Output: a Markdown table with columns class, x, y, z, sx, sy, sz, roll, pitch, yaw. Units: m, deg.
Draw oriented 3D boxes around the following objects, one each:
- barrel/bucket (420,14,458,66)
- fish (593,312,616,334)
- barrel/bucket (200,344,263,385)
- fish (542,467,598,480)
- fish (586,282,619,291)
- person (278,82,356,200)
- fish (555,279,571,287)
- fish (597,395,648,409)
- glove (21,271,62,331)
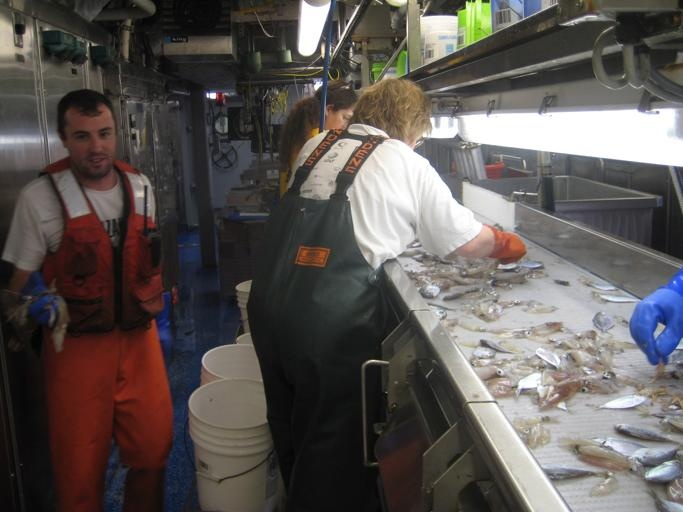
| class | x | y | z | sx | sy | sz | roll | pitch | yaw |
| --- | --- | --- | --- | --- | --- | --- | --- | --- | --- |
| barrel/bucket | 0.538 | -1.187 | 2.787 | 0.137 | 0.241 | 0.302 | -12 | 17 | -43 |
| fish | 0.940 | 0.238 | 1.844 | 0.071 | 0.024 | 0.054 | -18 | 33 | -33 |
| barrel/bucket | -0.619 | 0.613 | 2.881 | 0.275 | 0.202 | 0.258 | 2 | 13 | 0 |
| fish | 0.518 | 0.491 | 1.160 | 0.117 | 0.021 | 0.028 | -1 | 12 | -3 |
| fish | 1.100 | 0.128 | 2.167 | 0.102 | 0.009 | 0.113 | 1 | 12 | 5 |
| person | -0.273 | -0.798 | 4.127 | 0.424 | 1.201 | 0.305 | 3 | 52 | -21 |
| fish | 0.965 | 0.115 | 2.245 | 0.072 | 0.009 | 0.079 | -11 | 16 | -43 |
| fish | 0.765 | 0.396 | 1.390 | 0.086 | 0.019 | 0.053 | -9 | 10 | 7 |
| glove | -1.316 | 0.173 | 2.245 | 0.097 | 0.260 | 0.191 | -31 | -22 | 1 |
